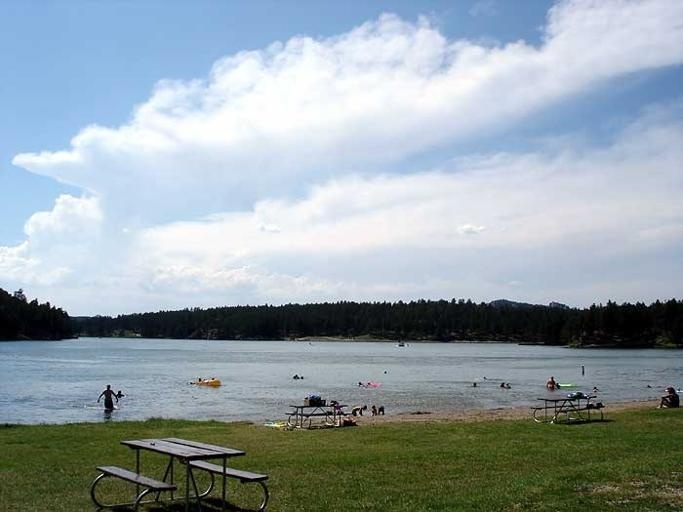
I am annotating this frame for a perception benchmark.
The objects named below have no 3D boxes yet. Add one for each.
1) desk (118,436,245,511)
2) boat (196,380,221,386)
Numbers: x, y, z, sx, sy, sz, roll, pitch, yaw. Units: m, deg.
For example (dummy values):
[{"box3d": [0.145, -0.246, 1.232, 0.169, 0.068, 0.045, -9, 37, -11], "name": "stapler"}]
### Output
[{"box3d": [-5.371, 7.217, 22.391, 2.733, 2.222, 5.123, -1, -2, -27], "name": "desk"}, {"box3d": [-16.295, 15.549, 82.367, 2.972, 0.721, 0.864, -9, -7, 32], "name": "boat"}]
